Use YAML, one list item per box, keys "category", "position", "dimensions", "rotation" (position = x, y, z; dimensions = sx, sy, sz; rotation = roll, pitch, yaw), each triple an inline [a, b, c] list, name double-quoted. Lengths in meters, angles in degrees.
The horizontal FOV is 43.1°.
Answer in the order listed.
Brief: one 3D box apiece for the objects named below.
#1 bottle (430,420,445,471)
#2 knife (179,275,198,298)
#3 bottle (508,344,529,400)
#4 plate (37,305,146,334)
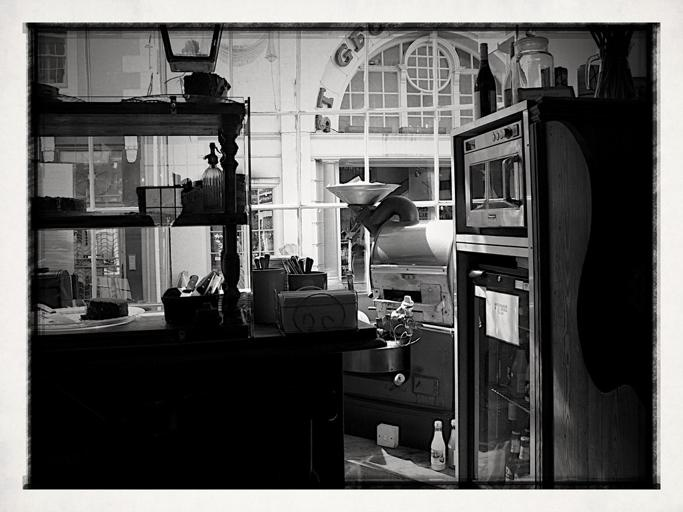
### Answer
- category: "bottle"
  position: [0.501, 0.954, 4.513]
  dimensions: [0.082, 0.250, 0.246]
  rotation: [-1, 5, 6]
- category: "knife"
  position: [-0.674, 0.133, 3.846]
  dimensions: [0.023, 0.097, 0.098]
  rotation: [15, -13, -41]
- category: "bottle"
  position: [0.740, 0.477, 3.573]
  dimensions: [0.027, 0.220, 0.103]
  rotation: [-3, 5, -25]
- category: "plate"
  position: [-1.095, 0.270, 3.787]
  dimensions: [0.451, 0.091, 0.209]
  rotation: [-3, 5, -9]
